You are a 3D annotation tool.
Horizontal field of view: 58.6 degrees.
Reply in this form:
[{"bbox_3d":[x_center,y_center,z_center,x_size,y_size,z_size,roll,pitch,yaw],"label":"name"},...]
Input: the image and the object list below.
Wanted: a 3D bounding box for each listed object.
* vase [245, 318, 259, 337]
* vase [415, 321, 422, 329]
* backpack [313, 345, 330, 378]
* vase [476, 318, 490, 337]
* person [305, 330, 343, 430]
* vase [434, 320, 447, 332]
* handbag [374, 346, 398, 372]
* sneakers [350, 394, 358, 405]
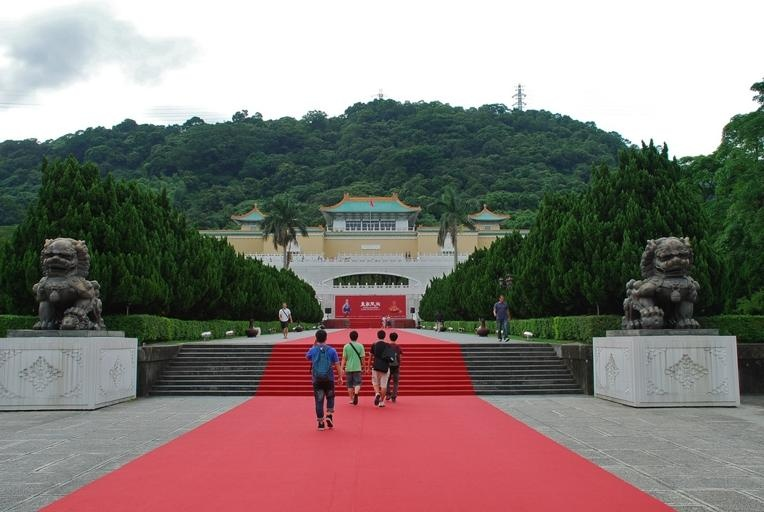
[{"bbox_3d":[-5.051,2.830,26.533,0.643,0.900,0.666,0,-8,-5],"label":"vase"},{"bbox_3d":[2.572,4.775,46.672,0.486,0.492,0.512,-2,-1,21],"label":"vase"},{"bbox_3d":[-0.986,1.911,12.219,0.381,0.618,0.382,-1,-1,-4],"label":"backpack"},{"bbox_3d":[4.024,2.878,26.912,0.571,0.822,0.587,1,-8,-9],"label":"vase"},{"bbox_3d":[-1.056,2.259,12.404,0.546,1.767,0.716,-1,-2,-2],"label":"person"},{"bbox_3d":[3.005,3.517,33.867,0.618,0.620,0.639,1,-8,-6],"label":"vase"},{"bbox_3d":[0.076,2.161,14.237,0.410,0.475,0.263,8,-27,-14],"label":"handbag"},{"bbox_3d":[-0.570,3.068,14.448,0.093,0.251,0.103,1,4,1],"label":"sneakers"}]
